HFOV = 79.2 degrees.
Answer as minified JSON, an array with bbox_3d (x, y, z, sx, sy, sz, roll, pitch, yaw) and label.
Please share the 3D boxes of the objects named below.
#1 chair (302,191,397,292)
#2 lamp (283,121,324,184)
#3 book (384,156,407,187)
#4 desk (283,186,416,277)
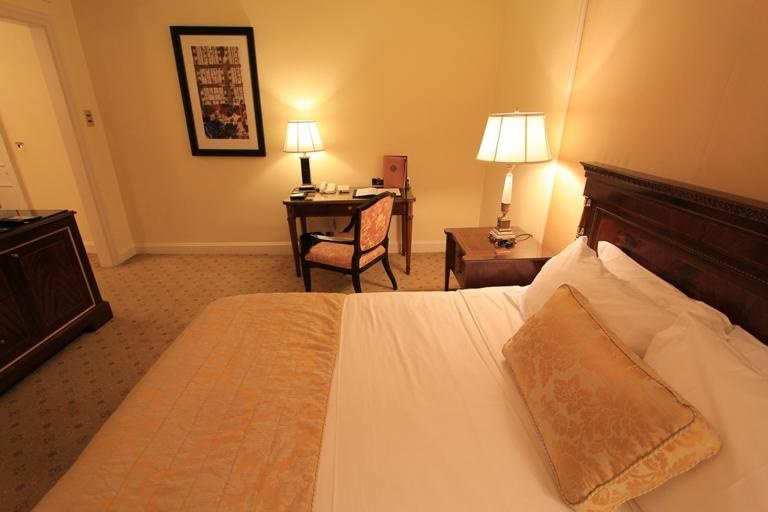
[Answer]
[{"bbox_3d":[-0.311,-0.169,4.310,0.781,0.982,0.796,7,23,11],"label":"chair"},{"bbox_3d":[-0.786,-0.988,4.573,0.433,0.664,0.437,4,23,12],"label":"lamp"},{"bbox_3d":[0.105,-0.848,4.670,0.240,0.321,0.095,1,5,9],"label":"book"},{"bbox_3d":[-0.320,-0.257,4.689,1.174,0.727,0.508,-1,16,-1],"label":"desk"}]
